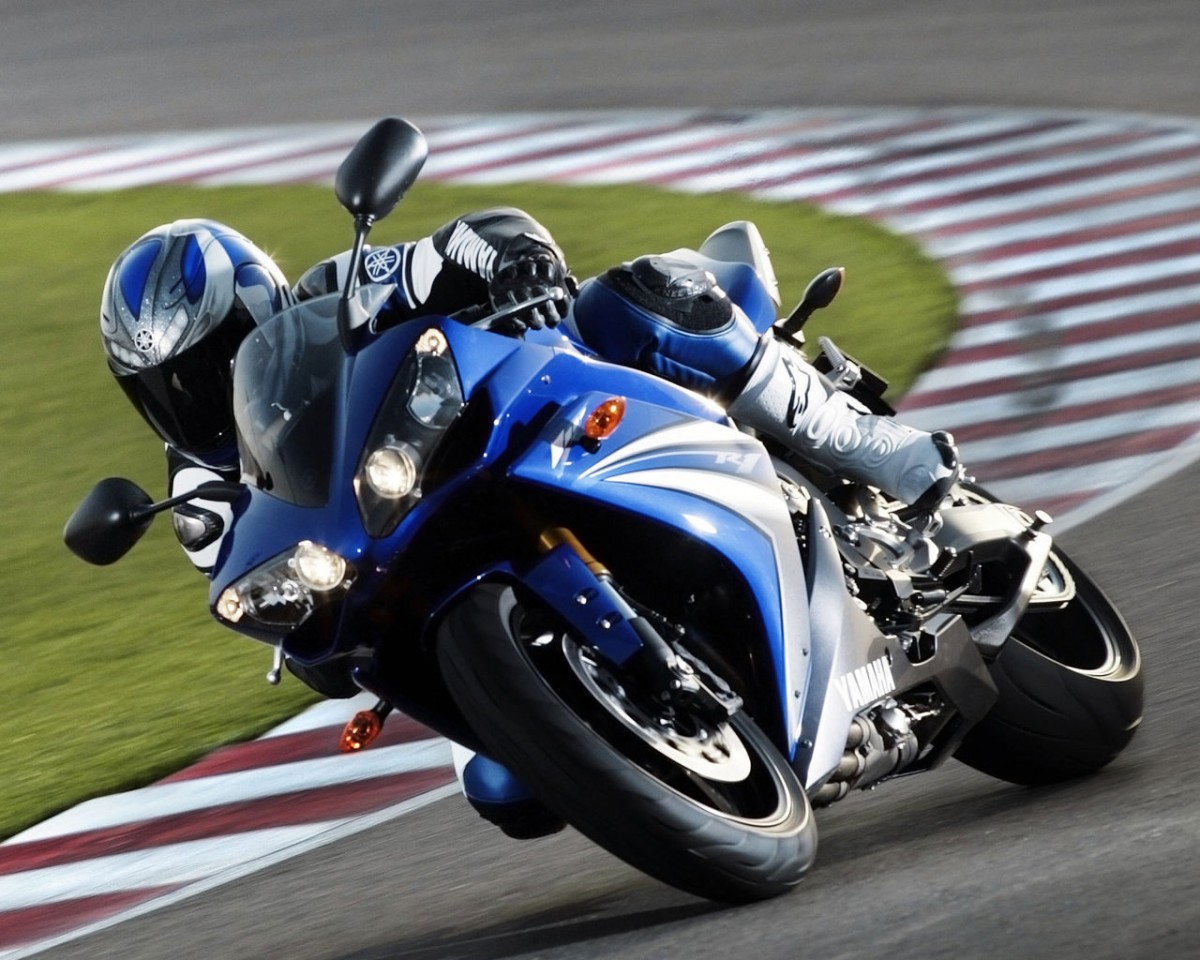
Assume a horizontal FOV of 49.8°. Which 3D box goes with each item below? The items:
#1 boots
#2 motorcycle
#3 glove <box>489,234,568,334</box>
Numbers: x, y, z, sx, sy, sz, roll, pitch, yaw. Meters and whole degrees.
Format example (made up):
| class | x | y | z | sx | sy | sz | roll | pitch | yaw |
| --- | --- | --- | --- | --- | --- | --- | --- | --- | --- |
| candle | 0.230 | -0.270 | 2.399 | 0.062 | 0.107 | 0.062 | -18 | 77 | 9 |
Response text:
| class | x | y | z | sx | sy | sz | roll | pitch | yaw |
| --- | --- | --- | --- | --- | --- | --- | --- | --- | --- |
| boots | 0.693 | -0.115 | 3.240 | 0.563 | 0.191 | 0.279 | 29 | 34 | 28 |
| motorcycle | 0.177 | 0.255 | 3.437 | 1.694 | 1.170 | 2.925 | 46 | 14 | 19 |
| glove | -0.146 | -0.386 | 2.655 | 0.187 | 0.184 | 0.097 | 1 | -18 | -30 |
